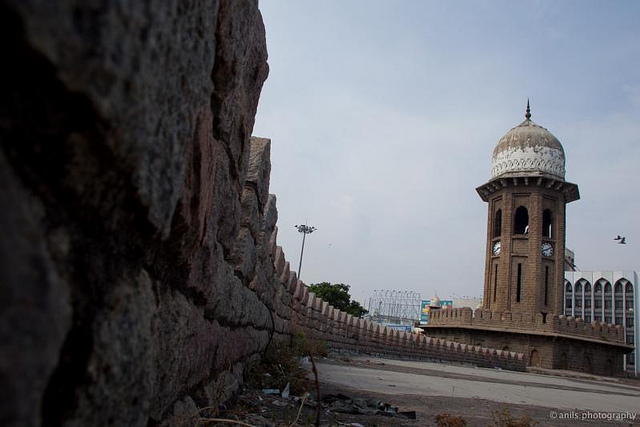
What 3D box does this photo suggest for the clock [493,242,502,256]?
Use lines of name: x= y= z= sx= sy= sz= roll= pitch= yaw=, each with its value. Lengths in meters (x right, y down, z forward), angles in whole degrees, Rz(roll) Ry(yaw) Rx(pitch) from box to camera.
clock: x=11.037 y=2.223 z=37.944 sx=0.084 sy=0.918 sz=0.666 roll=8 pitch=-12 yaw=-3

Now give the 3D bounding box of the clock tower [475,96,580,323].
clock tower: x=12.611 y=-0.012 z=37.051 sx=4.761 sy=12.840 sz=3.538 roll=2 pitch=-10 yaw=23

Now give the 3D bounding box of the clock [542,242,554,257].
clock: x=13.583 y=2.179 z=36.445 sx=0.755 sy=0.868 sz=0.050 roll=3 pitch=-7 yaw=-28
